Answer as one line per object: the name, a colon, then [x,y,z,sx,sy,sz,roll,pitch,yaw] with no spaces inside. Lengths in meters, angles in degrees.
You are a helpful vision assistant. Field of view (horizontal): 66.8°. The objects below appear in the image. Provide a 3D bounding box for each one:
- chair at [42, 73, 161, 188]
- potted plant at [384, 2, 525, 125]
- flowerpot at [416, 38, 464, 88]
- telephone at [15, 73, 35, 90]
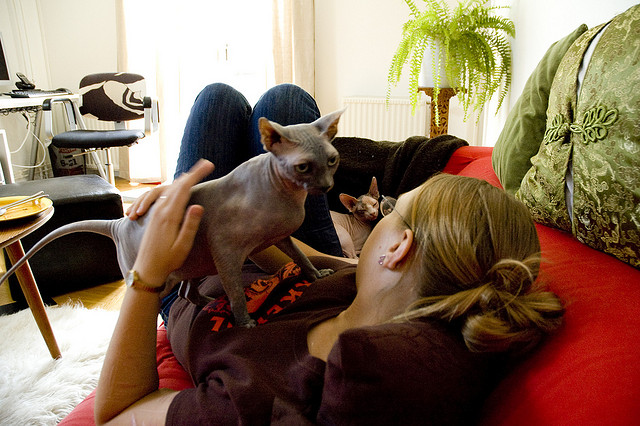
chair: [-1.703,-0.565,3.850,0.769,1.051,0.729,1,17,-2]
potted plant: [0.747,-0.860,2.723,0.777,0.545,0.760,-11,11,14]
flowerpot: [0.637,-0.797,2.598,0.283,0.256,0.227,10,23,27]
telephone: [-2.466,-1.099,4.038,0.123,0.136,0.139,-15,25,-33]
